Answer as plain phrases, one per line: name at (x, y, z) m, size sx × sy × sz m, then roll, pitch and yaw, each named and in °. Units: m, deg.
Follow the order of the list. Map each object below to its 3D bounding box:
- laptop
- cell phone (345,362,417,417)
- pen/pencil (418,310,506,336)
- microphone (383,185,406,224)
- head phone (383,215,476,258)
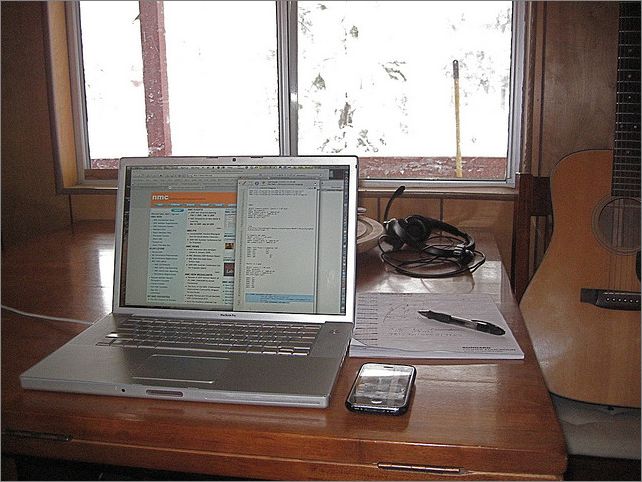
laptop at (-0.189, 0.067, 1.048) m, size 0.559 × 0.355 × 0.459 m, roll 1°, pitch 11°, yaw 10°
cell phone at (0.099, 0.249, 0.885) m, size 0.121 × 0.021 × 0.163 m, roll 3°, pitch 17°, yaw 14°
pen/pencil at (0.277, 0.166, 1.072) m, size 0.120 × 0.014 × 0.021 m, roll 10°, pitch 7°, yaw 31°
microphone at (0.248, -0.119, 1.823) m, size 0.030 × 0.123 × 0.100 m, roll 26°, pitch 15°, yaw 15°
head phone at (0.305, -0.013, 1.569) m, size 0.245 × 0.090 × 0.273 m, roll -4°, pitch 13°, yaw -24°
